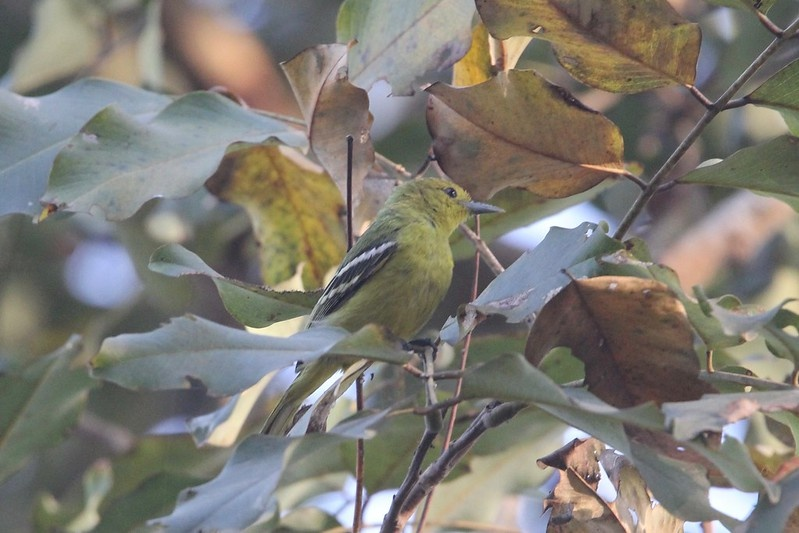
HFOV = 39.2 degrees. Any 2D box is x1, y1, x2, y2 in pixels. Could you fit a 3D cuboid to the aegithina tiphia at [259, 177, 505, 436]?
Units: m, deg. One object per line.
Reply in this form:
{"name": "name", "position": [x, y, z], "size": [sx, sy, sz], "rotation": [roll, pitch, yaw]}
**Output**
{"name": "aegithina tiphia", "position": [-0.100, 0.167, 4.874], "size": [0.402, 1.217, 0.590], "rotation": [43, 17, -45]}
